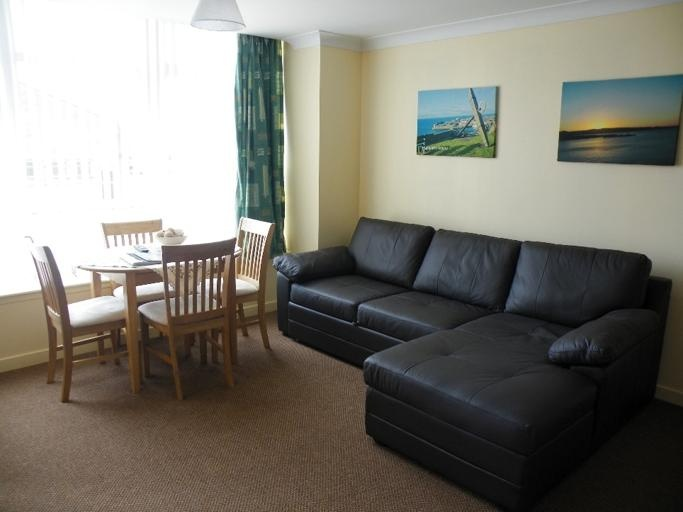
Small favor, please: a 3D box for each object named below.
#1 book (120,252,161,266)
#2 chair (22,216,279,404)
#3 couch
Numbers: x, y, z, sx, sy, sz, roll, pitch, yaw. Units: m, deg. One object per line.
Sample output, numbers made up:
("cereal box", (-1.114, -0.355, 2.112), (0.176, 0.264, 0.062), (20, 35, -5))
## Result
("book", (-1.548, 0.019, 3.970), (0.239, 0.044, 0.451), (-12, 17, -37))
("chair", (-1.426, 0.288, 4.558), (1.606, 1.162, 1.238), (-10, 16, -31))
("couch", (0.875, 0.475, 4.196), (2.155, 1.219, 2.829), (-9, 15, -27))
